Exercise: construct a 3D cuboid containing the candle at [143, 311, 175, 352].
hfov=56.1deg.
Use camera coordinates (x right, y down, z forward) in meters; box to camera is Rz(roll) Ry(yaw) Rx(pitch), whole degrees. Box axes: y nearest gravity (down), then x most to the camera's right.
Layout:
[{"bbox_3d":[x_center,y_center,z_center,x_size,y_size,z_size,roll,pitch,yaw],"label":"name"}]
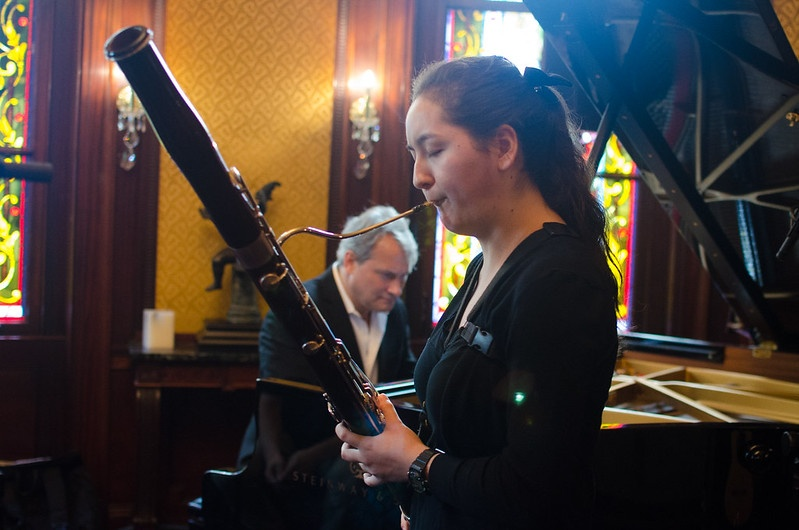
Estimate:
[{"bbox_3d":[-1.457,0.398,4.526,0.229,0.245,0.222,2,0,-32],"label":"candle"}]
